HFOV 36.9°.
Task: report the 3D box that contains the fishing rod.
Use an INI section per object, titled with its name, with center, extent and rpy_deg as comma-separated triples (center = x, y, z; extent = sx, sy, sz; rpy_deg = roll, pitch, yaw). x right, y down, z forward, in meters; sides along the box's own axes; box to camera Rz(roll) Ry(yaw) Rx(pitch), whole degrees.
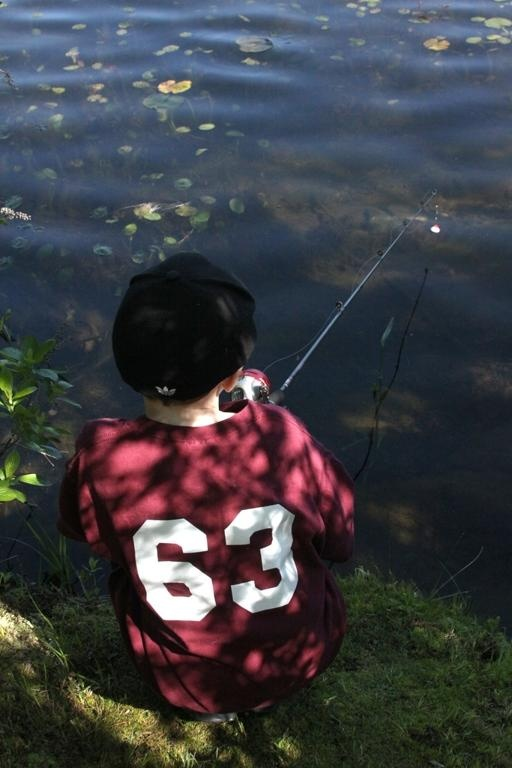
[fishing rod]
center = 0.445, -0.438, 4.101
extent = 0.250, 0.211, 1.482
rpy_deg = 32, 63, 18

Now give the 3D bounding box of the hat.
[hat]
center = -0.192, -0.154, 2.094
extent = 0.378, 0.341, 0.321
rpy_deg = 0, 27, 2

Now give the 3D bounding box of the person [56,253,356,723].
[person]
center = -0.060, 0.283, 2.270
extent = 0.772, 1.261, 0.603
rpy_deg = 9, 18, 24
